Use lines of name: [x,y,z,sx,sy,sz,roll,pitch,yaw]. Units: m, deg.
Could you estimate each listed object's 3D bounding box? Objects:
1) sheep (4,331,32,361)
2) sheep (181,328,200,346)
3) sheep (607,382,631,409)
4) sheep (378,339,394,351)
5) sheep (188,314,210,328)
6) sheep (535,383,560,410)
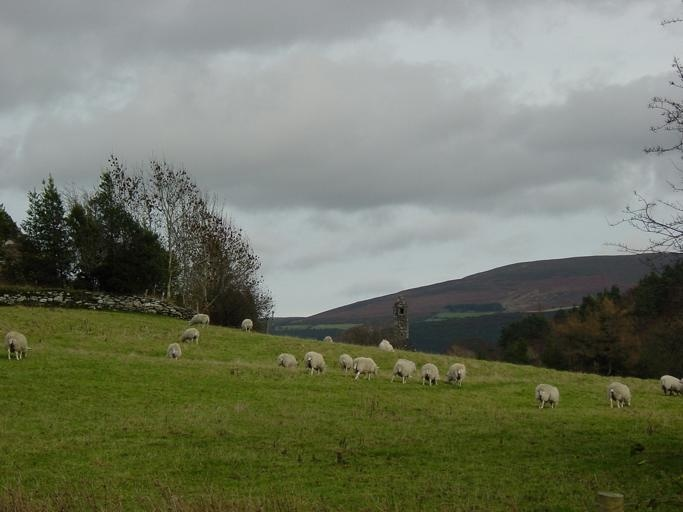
sheep: [-23.750,6.648,75.300,1.621,2.013,1.448,2,-6,-19]
sheep: [-12.707,6.791,86.437,1.463,1.316,1.277,1,-5,-11]
sheep: [20.879,10.473,76.861,1.524,1.779,2.567,-2,-6,16]
sheep: [4.341,8.773,98.736,0.961,0.615,1.566,3,5,-5]
sheep: [-13.067,5.925,94.211,1.349,1.104,1.955,4,-7,-35]
sheep: [15.124,10.442,76.005,1.651,1.695,1.857,-4,-7,34]
